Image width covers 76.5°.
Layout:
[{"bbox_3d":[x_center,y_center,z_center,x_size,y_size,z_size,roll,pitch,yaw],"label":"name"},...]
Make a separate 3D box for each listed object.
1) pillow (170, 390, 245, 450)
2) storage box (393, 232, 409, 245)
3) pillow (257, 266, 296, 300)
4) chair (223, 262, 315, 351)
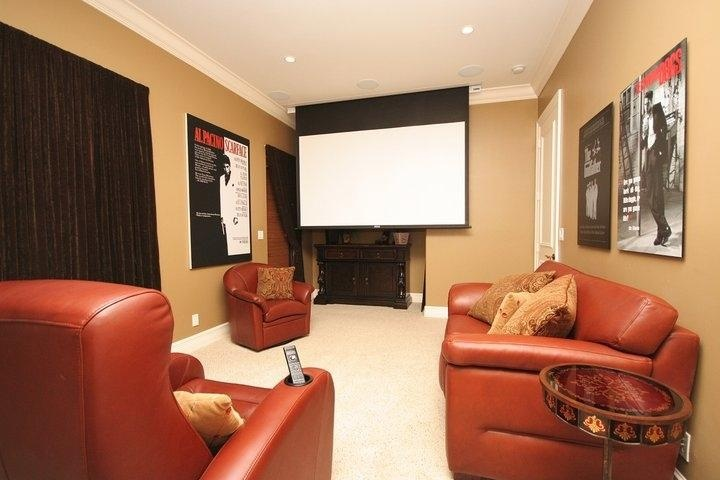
[{"bbox_3d":[-0.761,0.925,2.446,0.342,0.141,0.361,21,-20,23],"label":"pillow"},{"bbox_3d":[0.582,-0.034,6.562,0.278,0.251,0.150,1,-9,0],"label":"storage box"},{"bbox_3d":[-0.936,0.483,5.058,0.323,0.319,0.126,0,-20,-6],"label":"pillow"},{"bbox_3d":[-1.046,0.668,5.068,0.839,0.876,0.920,-5,-6,41],"label":"chair"}]
